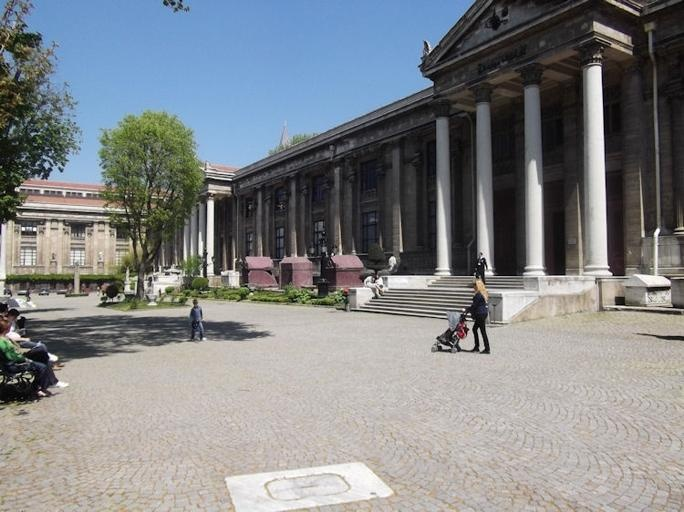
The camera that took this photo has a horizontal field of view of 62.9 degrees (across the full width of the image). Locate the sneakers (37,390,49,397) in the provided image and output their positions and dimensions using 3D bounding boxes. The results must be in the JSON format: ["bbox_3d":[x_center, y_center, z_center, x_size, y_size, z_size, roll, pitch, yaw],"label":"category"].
[{"bbox_3d":[-5.995,2.758,11.237,0.139,0.076,0.142,47,-20,-30],"label":"sneakers"}]

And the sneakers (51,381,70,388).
[{"bbox_3d":[-5.955,2.715,11.782,0.314,0.143,0.111,-1,6,-17],"label":"sneakers"}]

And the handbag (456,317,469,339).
[{"bbox_3d":[3.220,1.993,15.084,0.256,0.629,0.430,6,17,22],"label":"handbag"}]

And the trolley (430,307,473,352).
[{"bbox_3d":[3.012,2.019,15.281,0.968,1.136,0.732,3,4,14],"label":"trolley"}]

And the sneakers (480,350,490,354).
[{"bbox_3d":[3.797,2.517,14.648,0.207,0.125,0.301,-2,-4,14],"label":"sneakers"}]
